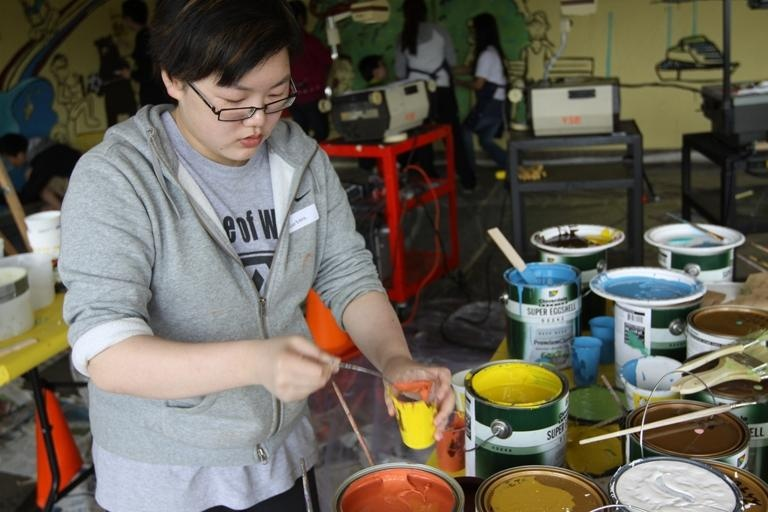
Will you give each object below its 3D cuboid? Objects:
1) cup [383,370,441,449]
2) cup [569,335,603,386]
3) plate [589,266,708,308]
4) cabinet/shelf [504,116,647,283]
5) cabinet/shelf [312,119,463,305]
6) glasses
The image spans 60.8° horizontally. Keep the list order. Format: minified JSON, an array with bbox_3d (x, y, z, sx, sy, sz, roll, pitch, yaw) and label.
[{"bbox_3d":[0.094,0.405,1.652,0.120,0.168,0.187,-6,-9,-13],"label":"cup"},{"bbox_3d":[0.622,0.341,2.019,0.107,0.124,0.106,-1,0,0],"label":"cup"},{"bbox_3d":[0.797,0.103,1.975,0.309,0.043,0.316,10,22,42],"label":"plate"},{"bbox_3d":[1.192,-0.297,4.064,0.781,0.756,0.604,-1,-3,19],"label":"cabinet/shelf"},{"bbox_3d":[-0.016,-0.335,4.595,0.889,1.118,0.831,6,25,28],"label":"cabinet/shelf"},{"bbox_3d":[-0.330,-0.389,1.624,0.121,0.099,0.277,13,23,44],"label":"glasses"}]
